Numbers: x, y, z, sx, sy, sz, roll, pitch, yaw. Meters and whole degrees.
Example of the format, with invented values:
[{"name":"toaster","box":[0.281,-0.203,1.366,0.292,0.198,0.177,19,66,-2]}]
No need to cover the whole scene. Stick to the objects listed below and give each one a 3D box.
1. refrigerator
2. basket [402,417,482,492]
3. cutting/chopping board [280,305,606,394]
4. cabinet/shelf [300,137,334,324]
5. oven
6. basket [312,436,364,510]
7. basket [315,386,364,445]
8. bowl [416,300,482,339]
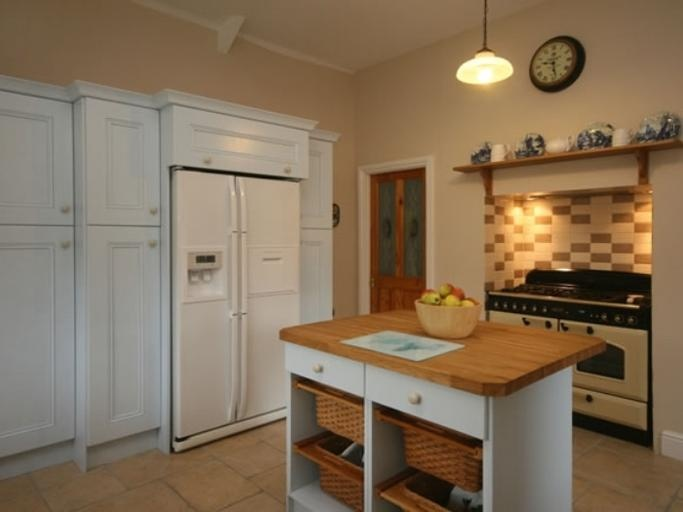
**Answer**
[{"name":"refrigerator","box":[-0.807,0.346,3.892,1.086,2.010,0.498,-5,14,-23]},{"name":"basket","box":[0.500,0.982,2.504,0.282,0.185,0.388,4,-4,-43]},{"name":"cutting/chopping board","box":[0.564,0.483,2.820,1.575,0.135,0.910,10,17,33]},{"name":"cabinet/shelf","box":[-0.206,-0.264,4.489,0.480,1.661,0.330,-6,14,-26]},{"name":"oven","box":[2.056,0.794,4.395,0.759,0.964,1.338,-8,7,-44]},{"name":"basket","box":[0.006,1.259,2.934,0.230,0.240,0.337,1,1,-33]},{"name":"basket","box":[-0.002,0.888,2.834,0.358,0.243,0.088,10,16,36]},{"name":"bowl","box":[0.580,0.358,2.798,0.243,0.122,0.239,0,-5,0]}]
